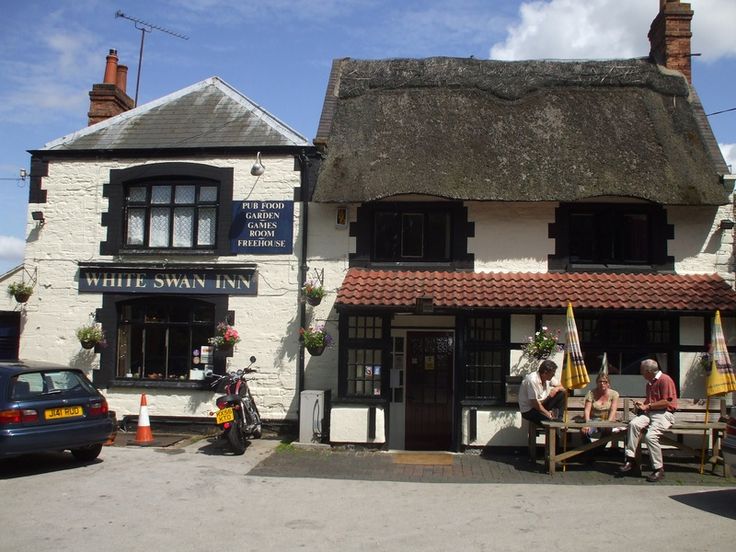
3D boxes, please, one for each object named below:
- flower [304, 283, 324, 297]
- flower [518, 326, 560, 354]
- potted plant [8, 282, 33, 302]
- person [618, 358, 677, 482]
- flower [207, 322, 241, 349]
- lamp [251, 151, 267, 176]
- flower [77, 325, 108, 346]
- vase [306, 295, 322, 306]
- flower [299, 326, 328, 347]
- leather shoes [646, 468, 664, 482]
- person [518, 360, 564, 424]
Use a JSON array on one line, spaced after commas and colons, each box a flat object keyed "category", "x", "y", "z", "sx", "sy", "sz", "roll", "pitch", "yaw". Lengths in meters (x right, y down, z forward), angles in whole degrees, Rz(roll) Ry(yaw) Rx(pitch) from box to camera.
[{"category": "flower", "x": -1.210, "y": 0.315, "z": 20.213, "sx": 0.307, "sy": 0.176, "sz": 0.287, "roll": 4, "pitch": -1, "yaw": -42}, {"category": "flower", "x": 3.654, "y": 1.396, "z": 19.082, "sx": 0.617, "sy": 0.390, "sz": 0.637, "roll": -5, "pitch": 5, "yaw": -13}, {"category": "potted plant", "x": -8.117, "y": 0.397, "z": 21.188, "sx": 0.457, "sy": 0.411, "sz": 0.478, "roll": 1, "pitch": -10, "yaw": 0}, {"category": "person", "x": 5.386, "y": 2.744, "z": 17.352, "sx": 1.002, "sy": 2.274, "sz": 0.564, "roll": -2, "pitch": -8, "yaw": 14}, {"category": "flower", "x": -3.243, "y": 1.354, "z": 20.490, "sx": 0.583, "sy": 0.416, "sz": 0.546, "roll": 1, "pitch": -4, "yaw": -6}, {"category": "lamp", "x": -2.555, "y": -2.615, "z": 20.919, "sx": 0.331, "sy": 0.583, "sz": 0.306, "roll": 1, "pitch": -8, "yaw": -9}, {"category": "flower", "x": -6.374, "y": 1.390, "z": 20.814, "sx": 0.466, "sy": 0.321, "sz": 0.466, "roll": 3, "pitch": -9, "yaw": -4}, {"category": "vase", "x": -1.215, "y": 0.567, "z": 20.363, "sx": 0.328, "sy": 0.176, "sz": 0.407, "roll": 1, "pitch": -7, "yaw": -7}, {"category": "flower", "x": -1.189, "y": 1.349, "z": 20.140, "sx": 0.442, "sy": 0.305, "sz": 0.432, "roll": 3, "pitch": -2, "yaw": -2}, {"category": "leather shoes", "x": 5.386, "y": 3.760, "z": 17.042, "sx": 0.407, "sy": 0.176, "sz": 0.147, "roll": 4, "pitch": -6, "yaw": -37}, {"category": "person", "x": 3.538, "y": 2.327, "z": 18.195, "sx": 1.000, "sy": 1.252, "sz": 0.889, "roll": 4, "pitch": 7, "yaw": 33}]
